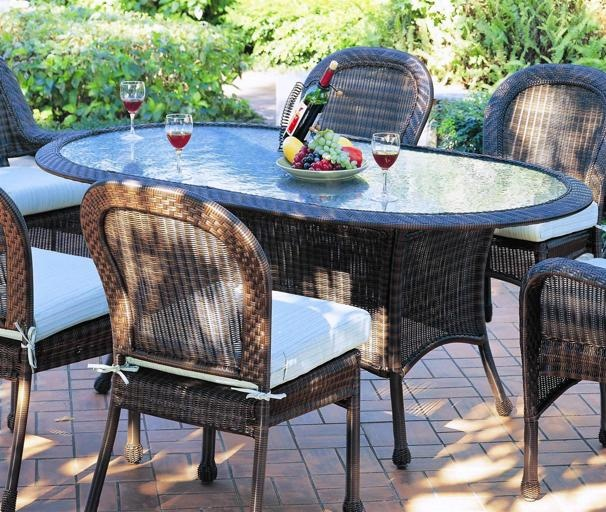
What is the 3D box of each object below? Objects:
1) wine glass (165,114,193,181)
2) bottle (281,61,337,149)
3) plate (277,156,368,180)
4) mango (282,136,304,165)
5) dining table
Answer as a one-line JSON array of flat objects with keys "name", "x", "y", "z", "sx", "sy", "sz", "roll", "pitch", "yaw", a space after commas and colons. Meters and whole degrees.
[{"name": "wine glass", "x": -0.477, "y": -0.412, "z": 2.442, "sx": 0.135, "sy": 0.214, "sz": 0.112, "roll": -3, "pitch": 13, "yaw": -17}, {"name": "bottle", "x": 0.045, "y": -0.592, "z": 2.556, "sx": 0.108, "sy": 0.351, "sz": 0.097, "roll": 24, "pitch": 27, "yaw": -8}, {"name": "plate", "x": 0.057, "y": -0.327, "z": 2.376, "sx": 0.348, "sy": 0.071, "sz": 0.208, "roll": -8, "pitch": 17, "yaw": -13}, {"name": "mango", "x": -0.044, "y": -0.395, "z": 2.429, "sx": 0.098, "sy": 0.103, "sz": 0.086, "roll": 8, "pitch": 8, "yaw": 43}, {"name": "dining table", "x": 0.096, "y": -0.116, "z": 3.350, "sx": 3.239, "sy": 1.189, "sz": 2.000, "roll": 5, "pitch": 17, "yaw": 16}]
